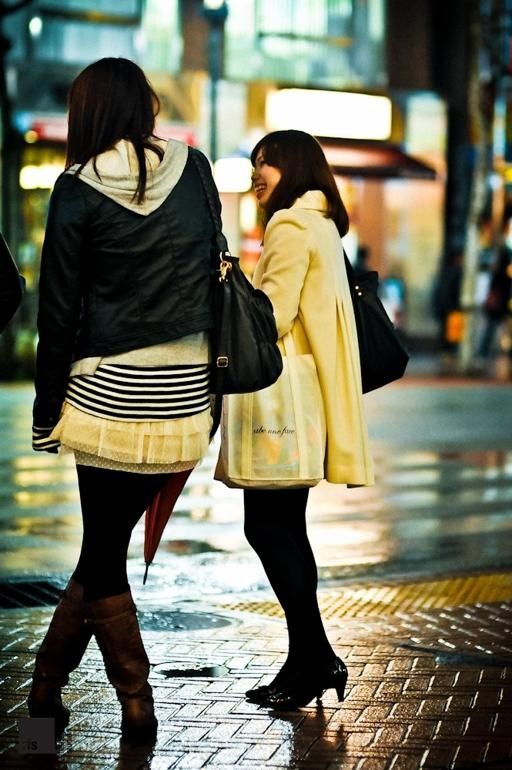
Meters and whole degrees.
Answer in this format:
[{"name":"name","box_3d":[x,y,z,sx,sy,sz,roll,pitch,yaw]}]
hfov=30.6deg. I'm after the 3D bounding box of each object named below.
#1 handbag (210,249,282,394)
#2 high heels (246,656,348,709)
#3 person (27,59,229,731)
[{"name":"handbag","box_3d":[-0.035,-0.175,2.749,0.239,0.428,0.457,-6,1,7]},{"name":"high heels","box_3d":[0.138,0.980,3.133,0.307,0.133,0.156,-1,0,-9]},{"name":"person","box_3d":[-0.395,0.051,2.703,0.524,1.948,0.472,2,12,4]}]
